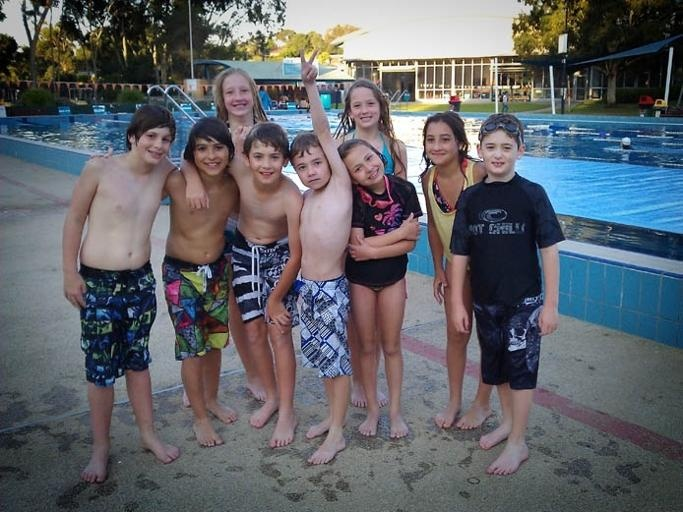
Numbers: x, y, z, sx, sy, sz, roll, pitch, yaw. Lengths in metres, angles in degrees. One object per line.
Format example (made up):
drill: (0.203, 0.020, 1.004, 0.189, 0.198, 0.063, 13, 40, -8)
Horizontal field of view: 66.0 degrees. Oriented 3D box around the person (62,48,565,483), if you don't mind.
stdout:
person: (0.422, -0.026, 2.811, 1.406, 2.113, 0.820, 3, 15, 23)
